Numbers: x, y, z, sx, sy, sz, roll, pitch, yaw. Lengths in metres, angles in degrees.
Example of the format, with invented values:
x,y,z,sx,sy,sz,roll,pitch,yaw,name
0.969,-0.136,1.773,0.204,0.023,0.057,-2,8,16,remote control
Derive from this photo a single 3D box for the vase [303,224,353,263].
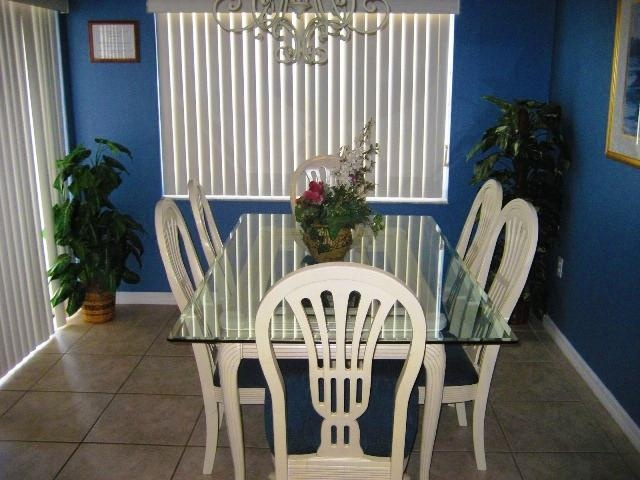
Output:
x,y,z,sx,sy,sz,roll,pitch,yaw,name
0.048,-0.001,3.238,0.191,0.179,0.230,1,9,1,vase

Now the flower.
x,y,z,sx,sy,sz,roll,pitch,yaw,name
0.140,-0.150,3.265,0.360,0.638,0.378,26,-16,-37,flower

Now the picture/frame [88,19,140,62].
x,y,z,sx,sy,sz,roll,pitch,yaw,name
-1.722,-1.683,4.672,0.280,0.282,0.025,0,12,-3,picture/frame

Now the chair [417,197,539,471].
x,y,z,sx,sy,sz,roll,pitch,yaw,name
0.882,0.526,3.094,0.471,1.451,0.859,7,18,22,chair

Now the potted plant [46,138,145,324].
x,y,z,sx,sy,sz,roll,pitch,yaw,name
-1.883,-0.077,4.645,0.747,1.517,0.746,-9,18,-27,potted plant
